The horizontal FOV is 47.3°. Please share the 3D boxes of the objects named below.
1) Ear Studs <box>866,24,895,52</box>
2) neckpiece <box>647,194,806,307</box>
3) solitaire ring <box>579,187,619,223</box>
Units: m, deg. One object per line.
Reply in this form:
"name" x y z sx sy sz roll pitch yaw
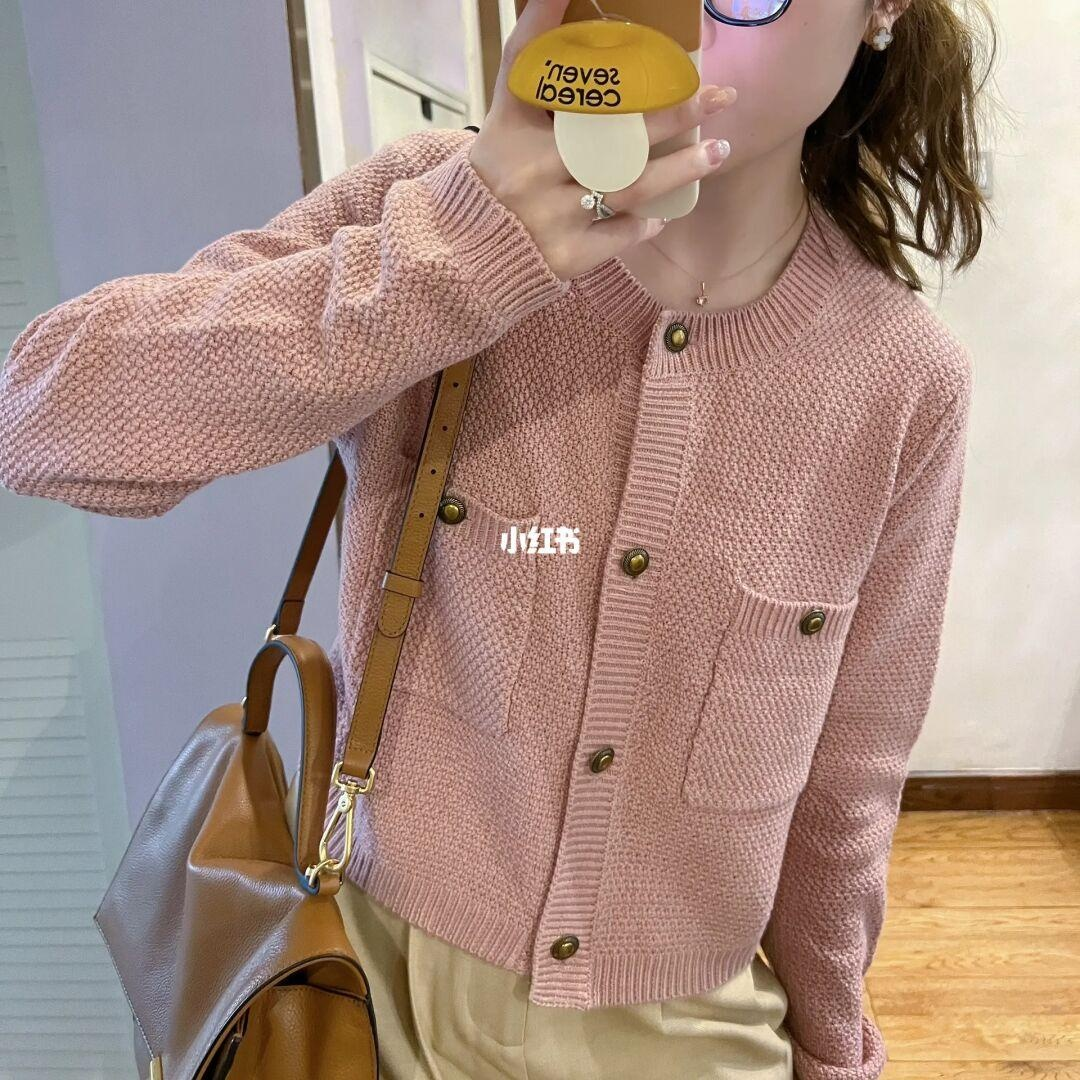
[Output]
"Ear Studs" 0.242 -0.359 0.883 0.015 0.014 0.020 2 14 5
"neckpiece" 0.149 -0.223 0.916 0.074 0.099 0.020 31 -11 0
"solitaire ring" 0.035 -0.203 0.747 0.013 0.023 0.025 8 19 4
